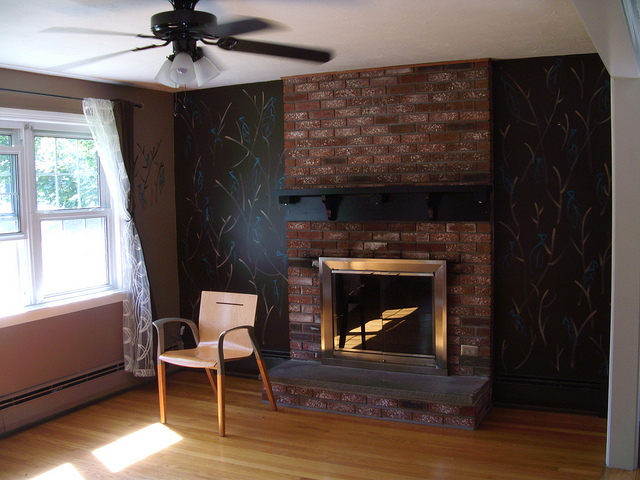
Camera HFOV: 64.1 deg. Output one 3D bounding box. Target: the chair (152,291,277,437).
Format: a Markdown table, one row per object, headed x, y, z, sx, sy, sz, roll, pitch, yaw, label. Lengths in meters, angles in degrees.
| x | y | z | sx | sy | sz | roll | pitch | yaw | label |
| --- | --- | --- | --- | --- | --- | --- | --- | --- | --- |
| -0.826 | 0.921 | 4.054 | 0.822 | 0.965 | 0.749 | 1 | 3 | 19 | chair |

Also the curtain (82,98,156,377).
| x | y | z | sx | sy | sz | roll | pitch | yaw | label |
| --- | --- | --- | --- | --- | --- | --- | --- | --- | --- |
| -1.801 | 0.016 | 4.482 | 0.253 | 2.589 | 0.874 | -1 | 1 | 10 | curtain |
